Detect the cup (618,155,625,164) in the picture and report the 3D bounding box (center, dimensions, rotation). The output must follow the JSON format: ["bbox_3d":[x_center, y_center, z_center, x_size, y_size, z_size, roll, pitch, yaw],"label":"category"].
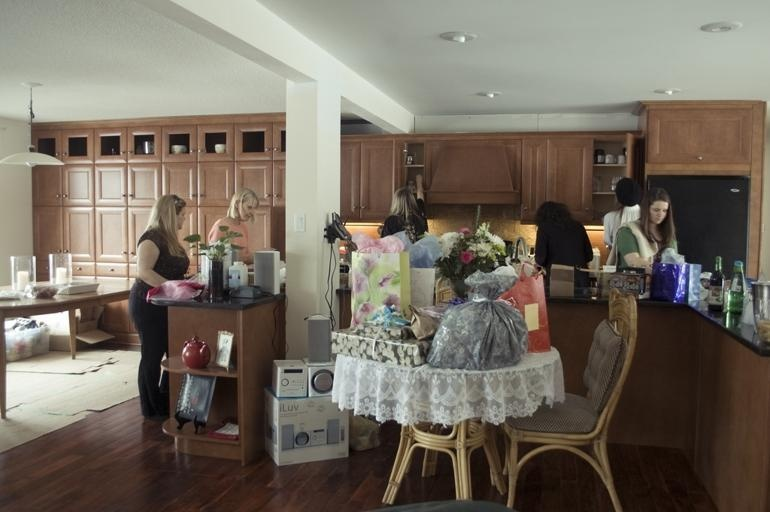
[{"bbox_3d":[2.985,-1.212,7.416,0.092,0.119,0.149,4,11,19],"label":"cup"}]

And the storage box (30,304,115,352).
[{"bbox_3d":[-3.921,0.877,7.382,0.846,0.416,0.632,3,6,20],"label":"storage box"}]

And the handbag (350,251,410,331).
[{"bbox_3d":[-0.018,0.218,3.730,0.487,0.658,0.223,0,6,6],"label":"handbag"}]

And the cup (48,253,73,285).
[{"bbox_3d":[-3.244,0.121,5.891,0.186,0.325,0.316,-7,13,-31],"label":"cup"}]

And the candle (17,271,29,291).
[{"bbox_3d":[-3.453,0.227,5.603,0.108,0.186,0.051,-7,13,-33],"label":"candle"}]

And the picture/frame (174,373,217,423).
[{"bbox_3d":[-1.484,1.091,4.538,0.386,0.381,0.139,6,12,29],"label":"picture/frame"}]

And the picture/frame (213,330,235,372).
[{"bbox_3d":[-1.224,0.731,4.504,0.269,0.359,0.039,6,5,31],"label":"picture/frame"}]

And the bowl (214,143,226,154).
[{"bbox_3d":[-2.149,-1.394,7.668,0.127,0.092,0.128,1,4,0],"label":"bowl"}]

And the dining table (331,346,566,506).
[{"bbox_3d":[0.326,0.852,3.826,1.132,0.714,1.117,0,-5,4],"label":"dining table"}]

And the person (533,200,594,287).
[{"bbox_3d":[2.030,-0.208,6.620,0.622,0.761,0.461,3,11,17],"label":"person"}]

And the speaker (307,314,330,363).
[{"bbox_3d":[-0.505,0.617,4.505,0.172,0.343,0.194,-2,11,-9],"label":"speaker"}]

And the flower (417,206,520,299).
[{"bbox_3d":[0.578,-0.007,4.185,0.621,0.722,0.625,-8,14,-26],"label":"flower"}]

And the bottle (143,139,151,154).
[{"bbox_3d":[-3.148,-1.444,7.826,0.104,0.176,0.101,0,11,0],"label":"bottle"}]

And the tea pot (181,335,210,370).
[{"bbox_3d":[-1.448,0.731,4.539,0.189,0.220,0.247,0,2,-29],"label":"tea pot"}]

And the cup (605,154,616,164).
[{"bbox_3d":[2.850,-1.231,7.447,0.149,0.124,0.096,1,1,14],"label":"cup"}]

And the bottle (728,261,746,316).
[{"bbox_3d":[2.482,0.218,4.130,0.098,0.355,0.177,6,13,31],"label":"bottle"}]

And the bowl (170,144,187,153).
[{"bbox_3d":[-2.723,-1.405,7.764,0.126,0.091,0.120,0,6,0],"label":"bowl"}]

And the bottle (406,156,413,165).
[{"bbox_3d":[0.333,-1.270,7.820,0.103,0.115,0.103,2,1,29],"label":"bottle"}]

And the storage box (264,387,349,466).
[{"bbox_3d":[-0.572,1.305,4.418,0.553,0.542,0.423,0,-3,-11],"label":"storage box"}]

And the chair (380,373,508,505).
[{"bbox_3d":[0.479,1.275,4.059,0.682,0.935,0.771,2,5,23],"label":"chair"}]

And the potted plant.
[{"bbox_3d":[-1.425,0.040,4.888,0.618,0.604,0.579,0,0,-25],"label":"potted plant"}]
